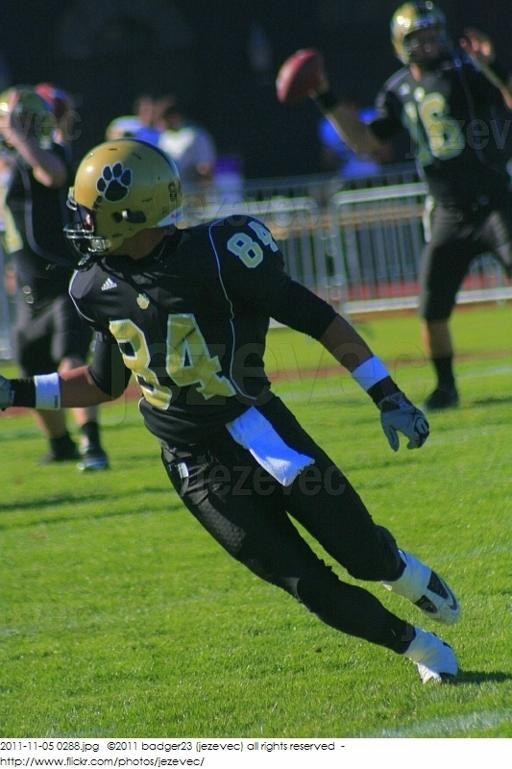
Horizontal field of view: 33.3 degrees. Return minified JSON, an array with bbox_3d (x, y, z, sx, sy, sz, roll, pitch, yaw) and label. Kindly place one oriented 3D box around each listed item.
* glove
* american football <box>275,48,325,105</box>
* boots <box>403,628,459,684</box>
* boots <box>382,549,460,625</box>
[{"bbox_3d":[0.321,0.065,1.963,0.078,0.169,0.122,-13,7,-42],"label":"glove"},{"bbox_3d":[0.174,-1.220,3.390,0.186,0.216,0.180,-7,5,4],"label":"american football"},{"bbox_3d":[0.427,0.673,2.107,0.099,0.133,0.093,-52,15,-19],"label":"boots"},{"bbox_3d":[0.436,0.526,2.222,0.317,0.105,0.115,23,32,-25],"label":"boots"}]
